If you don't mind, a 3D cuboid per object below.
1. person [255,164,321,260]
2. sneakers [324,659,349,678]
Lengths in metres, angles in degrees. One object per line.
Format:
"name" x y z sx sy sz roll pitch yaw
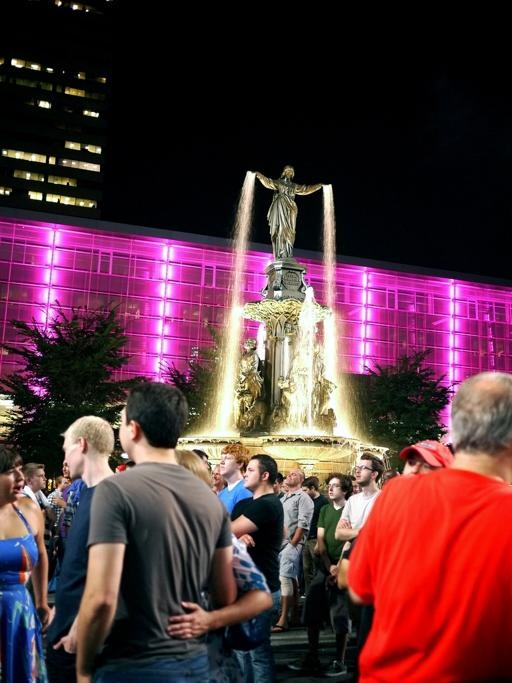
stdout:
"person" 0.989 -4.683 24.730 1.621 3.532 0.799 8 -8 -30
"sneakers" 0.722 2.976 6.233 0.093 0.110 0.277 -21 -34 32
